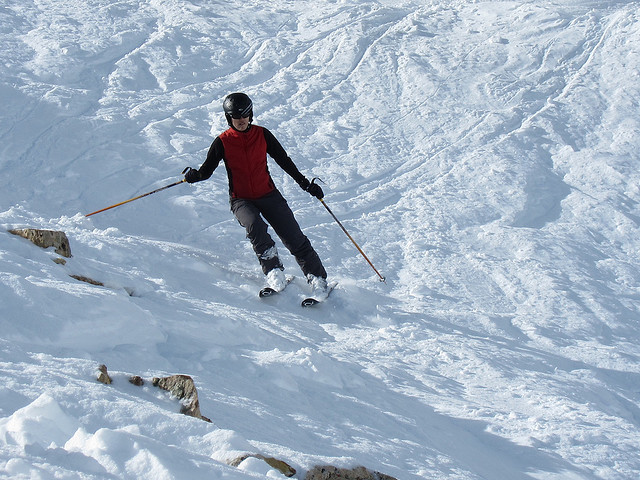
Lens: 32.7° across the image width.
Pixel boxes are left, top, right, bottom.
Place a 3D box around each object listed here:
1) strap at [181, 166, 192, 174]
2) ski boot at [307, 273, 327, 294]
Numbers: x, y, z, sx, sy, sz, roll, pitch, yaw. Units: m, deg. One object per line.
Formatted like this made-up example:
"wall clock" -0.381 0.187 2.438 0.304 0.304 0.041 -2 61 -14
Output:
"strap" -2.298 -1.214 18.994 0.154 0.043 0.168 -37 25 -11
"ski boot" -0.043 0.766 19.540 0.321 0.342 0.204 -8 2 -1
